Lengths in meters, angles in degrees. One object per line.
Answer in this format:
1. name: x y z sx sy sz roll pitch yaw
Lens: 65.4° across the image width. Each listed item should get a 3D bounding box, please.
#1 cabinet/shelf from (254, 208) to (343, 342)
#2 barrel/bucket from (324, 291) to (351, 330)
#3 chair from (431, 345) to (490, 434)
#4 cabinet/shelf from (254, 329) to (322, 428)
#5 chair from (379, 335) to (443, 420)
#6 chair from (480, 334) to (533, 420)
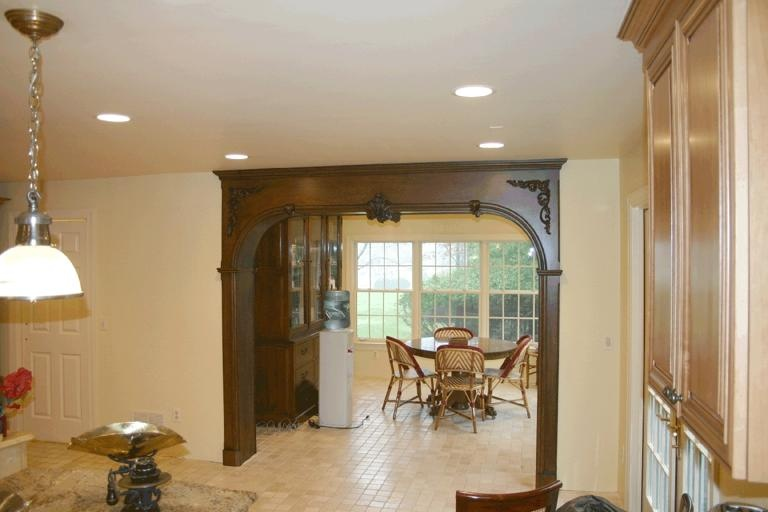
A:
1. cabinet/shelf: -0.991 0.248 6.711 0.358 0.956 1.622 0 0 8
2. barrel/bucket: -0.523 0.616 6.854 0.332 0.457 0.317 -2 -5 0
3. chair: 0.869 1.446 6.684 0.631 0.900 0.633 1 -3 24
4. cabinet/shelf: -1.101 1.372 6.663 0.449 0.909 1.140 -1 -2 11
5. chair: 0.346 1.424 7.168 0.699 0.843 0.697 2 -3 42
6. chair: 1.480 1.427 7.277 0.703 0.854 0.679 -2 -2 -16
